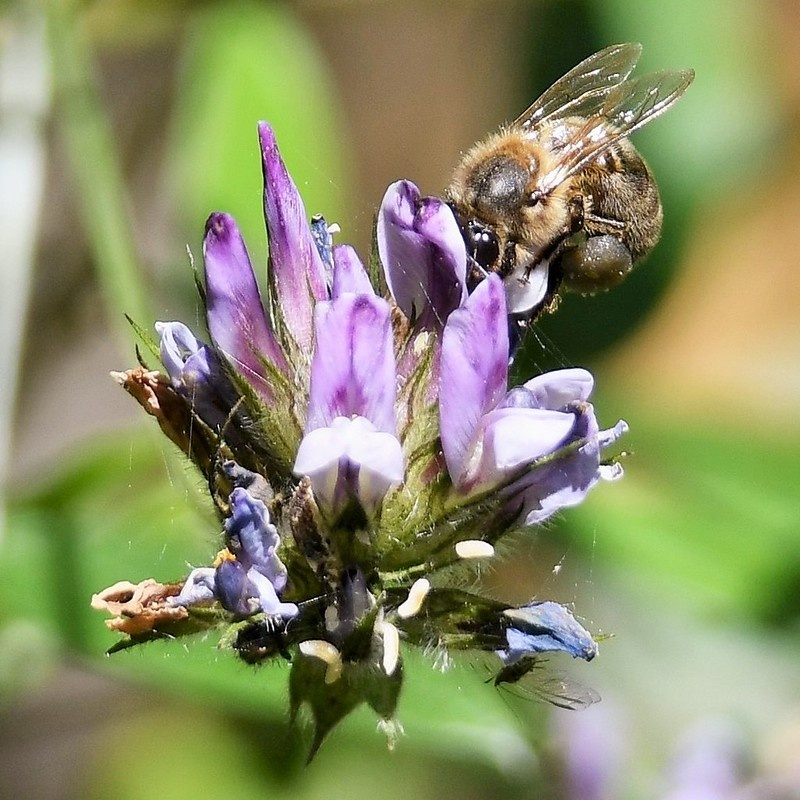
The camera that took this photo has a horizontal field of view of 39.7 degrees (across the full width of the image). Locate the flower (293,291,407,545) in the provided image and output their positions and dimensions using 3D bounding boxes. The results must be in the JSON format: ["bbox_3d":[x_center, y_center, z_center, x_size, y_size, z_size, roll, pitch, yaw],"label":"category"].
[{"bbox_3d":[-0.065,0.026,1.394,0.131,0.302,0.142,-2,22,-1],"label":"flower"}]

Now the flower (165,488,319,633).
[{"bbox_3d":[-0.212,0.197,1.381,0.155,0.146,0.079,-4,23,-5],"label":"flower"}]
